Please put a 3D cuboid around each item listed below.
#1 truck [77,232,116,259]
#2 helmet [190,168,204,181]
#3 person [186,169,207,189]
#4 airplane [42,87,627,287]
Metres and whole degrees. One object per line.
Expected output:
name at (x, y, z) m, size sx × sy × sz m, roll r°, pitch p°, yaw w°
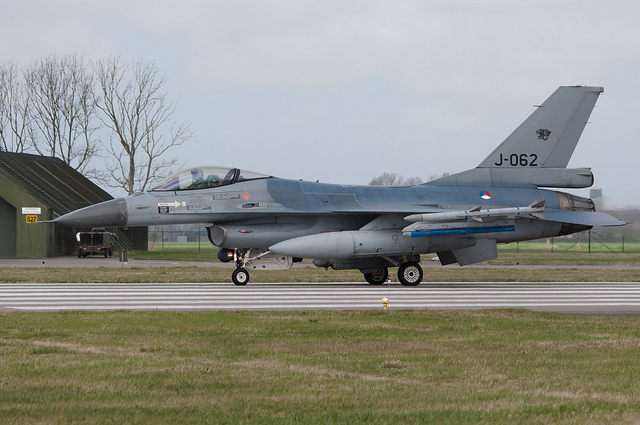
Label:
truck at (-12.573, 1.707, 49.733) m, size 1.892 × 0.989 × 2.476 m, roll -1°, pitch 0°, yaw -10°
helmet at (-3.925, -1.236, 29.295) m, size 0.399 × 0.306 × 0.212 m, roll -1°, pitch 15°, yaw -5°
person at (-3.974, -1.076, 29.236) m, size 0.818 × 0.372 × 0.387 m, roll -5°, pitch -12°, yaw 32°
airplane at (1.565, -0.272, 31.346) m, size 15.218 × 3.908 × 9.410 m, roll 0°, pitch -1°, yaw -9°
